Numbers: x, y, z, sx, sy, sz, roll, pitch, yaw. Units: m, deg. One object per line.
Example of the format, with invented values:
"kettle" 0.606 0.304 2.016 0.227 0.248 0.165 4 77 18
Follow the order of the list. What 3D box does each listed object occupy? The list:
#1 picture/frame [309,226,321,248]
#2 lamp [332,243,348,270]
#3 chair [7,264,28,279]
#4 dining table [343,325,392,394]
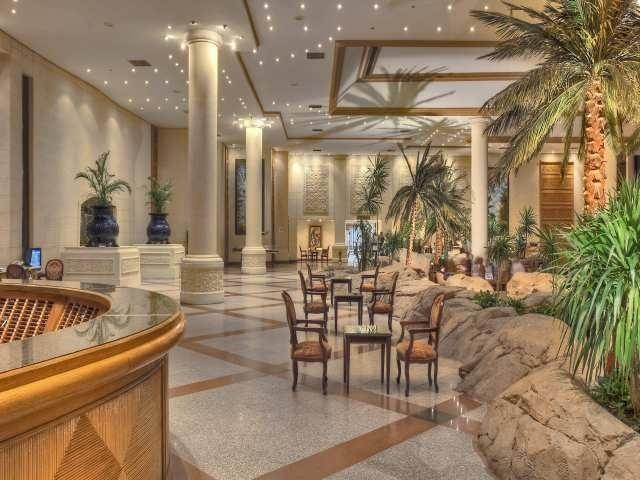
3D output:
"picture/frame" -0.275 -0.171 26.124 0.794 1.255 0.436 -1 -1 -3
"lamp" 1.095 0.827 23.604 0.970 1.280 0.970 0 -4 -1
"chair" -5.100 0.537 7.170 0.250 0.242 0.431 0 -2 -39
"dining table" 0.512 1.265 4.731 0.534 0.618 0.964 -1 -2 6
